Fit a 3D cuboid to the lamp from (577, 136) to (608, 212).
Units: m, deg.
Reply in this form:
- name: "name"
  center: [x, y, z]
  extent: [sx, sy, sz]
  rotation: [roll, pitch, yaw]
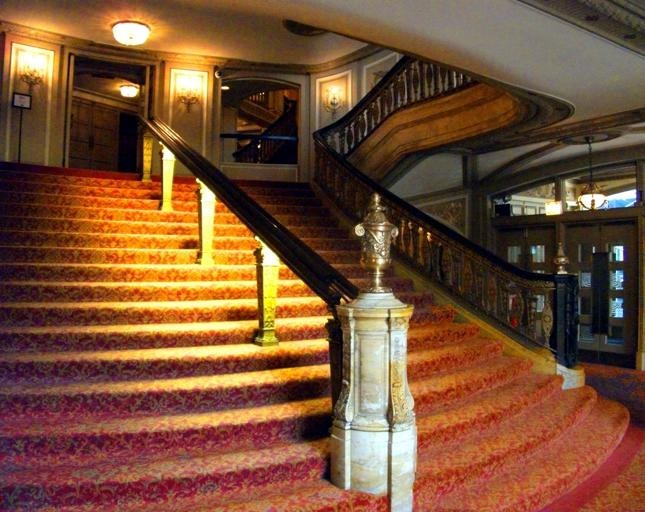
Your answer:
- name: "lamp"
  center: [4.154, -1.179, 8.088]
  extent: [0.364, 0.971, 1.756]
  rotation: [4, 5, 27]

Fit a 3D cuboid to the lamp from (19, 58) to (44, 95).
- name: "lamp"
  center: [-4.872, -3.038, 8.908]
  extent: [0.339, 0.421, 0.340]
  rotation: [3, -3, -34]

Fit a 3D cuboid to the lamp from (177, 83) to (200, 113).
- name: "lamp"
  center: [-2.464, -2.919, 9.825]
  extent: [0.375, 0.480, 0.099]
  rotation: [1, 4, -12]

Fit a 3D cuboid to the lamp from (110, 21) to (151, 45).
- name: "lamp"
  center: [-2.980, -3.478, 8.215]
  extent: [0.536, 0.304, 0.375]
  rotation: [1, 4, -7]
